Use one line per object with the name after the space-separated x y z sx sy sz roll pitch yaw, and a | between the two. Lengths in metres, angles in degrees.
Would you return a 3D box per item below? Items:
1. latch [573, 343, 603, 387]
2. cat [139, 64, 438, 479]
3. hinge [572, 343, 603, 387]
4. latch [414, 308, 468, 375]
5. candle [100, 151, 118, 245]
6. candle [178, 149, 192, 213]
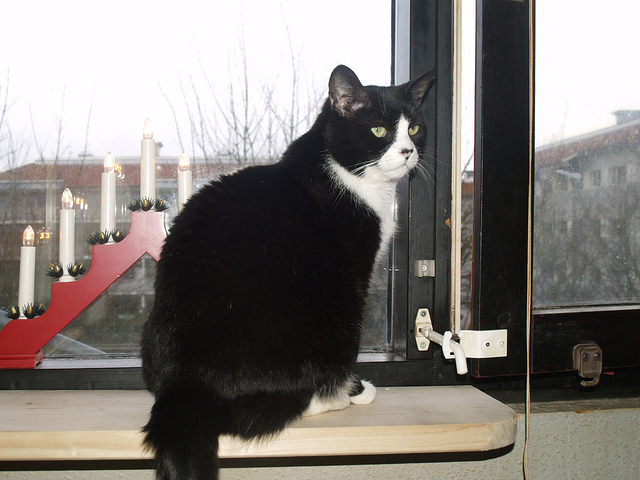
0.689 0.322 1.898 0.065 0.118 0.037 -5 21 7 | latch
-0.076 0.055 1.797 0.698 0.953 0.240 1 -2 -25 | cat
0.688 0.324 1.896 0.064 0.114 0.037 -4 11 9 | hinge
0.305 0.245 1.870 0.068 0.159 0.102 -1 11 -17 | latch
-0.549 -0.107 1.900 0.037 0.196 0.074 0 7 -10 | candle
-0.355 -0.147 1.918 0.033 0.165 0.035 -1 13 -12 | candle
